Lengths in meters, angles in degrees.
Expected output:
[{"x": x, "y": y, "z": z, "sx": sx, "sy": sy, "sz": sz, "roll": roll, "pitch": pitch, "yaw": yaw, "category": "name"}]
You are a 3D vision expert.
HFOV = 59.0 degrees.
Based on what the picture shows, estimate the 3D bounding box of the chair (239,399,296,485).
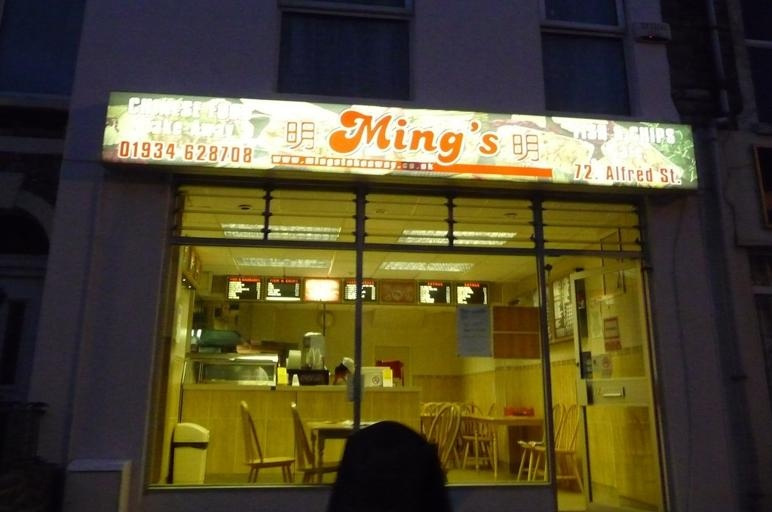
[{"x": -1.507, "y": 2.495, "z": 8.823, "sx": 0.742, "sy": 1.091, "sz": 0.628, "roll": 2, "pitch": -16, "yaw": -9, "category": "chair"}]

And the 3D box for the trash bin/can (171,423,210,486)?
[{"x": -2.471, "y": 2.466, "z": 8.483, "sx": 0.441, "sy": 0.699, "sz": 0.538, "roll": 4, "pitch": -14, "yaw": -16, "category": "trash bin/can"}]
